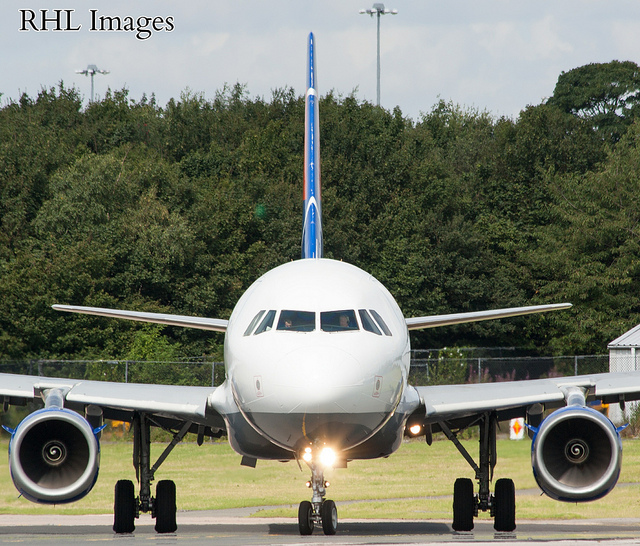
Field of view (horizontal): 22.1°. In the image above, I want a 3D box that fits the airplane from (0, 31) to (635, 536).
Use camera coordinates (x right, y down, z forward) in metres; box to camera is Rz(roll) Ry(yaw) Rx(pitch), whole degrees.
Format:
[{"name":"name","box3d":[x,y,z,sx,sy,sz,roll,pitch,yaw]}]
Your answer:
[{"name":"airplane","box3d":[-0.065,3.435,41.876,14.982,7.183,4.282,0,7,-1]}]
